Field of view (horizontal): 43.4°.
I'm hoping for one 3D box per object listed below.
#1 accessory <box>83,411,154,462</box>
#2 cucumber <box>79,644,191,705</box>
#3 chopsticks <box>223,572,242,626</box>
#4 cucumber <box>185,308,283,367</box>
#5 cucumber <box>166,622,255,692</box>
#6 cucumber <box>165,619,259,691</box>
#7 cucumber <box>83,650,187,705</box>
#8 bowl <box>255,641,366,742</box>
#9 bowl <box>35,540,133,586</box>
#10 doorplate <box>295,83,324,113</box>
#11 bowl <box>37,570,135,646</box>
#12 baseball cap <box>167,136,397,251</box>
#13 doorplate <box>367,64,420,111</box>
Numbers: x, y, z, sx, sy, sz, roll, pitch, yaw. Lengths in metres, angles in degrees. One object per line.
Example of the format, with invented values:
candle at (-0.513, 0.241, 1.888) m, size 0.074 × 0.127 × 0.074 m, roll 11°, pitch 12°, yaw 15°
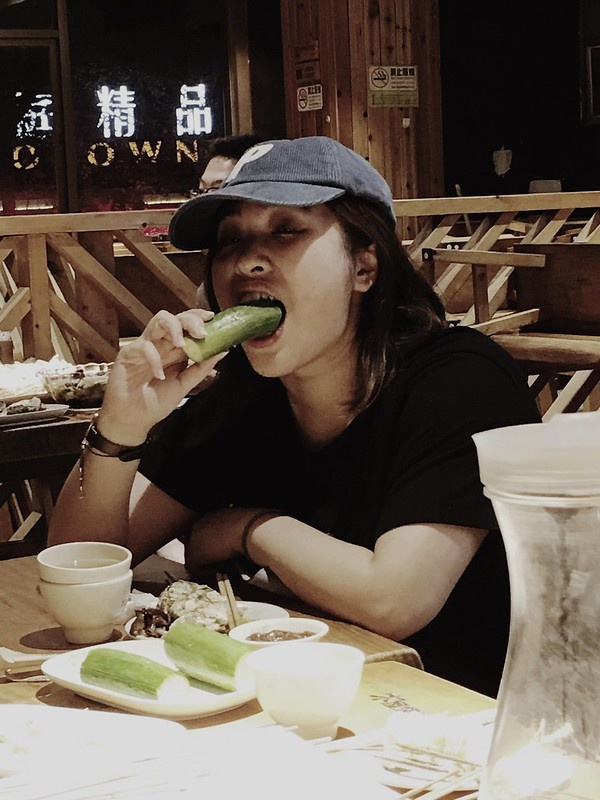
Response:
accessory at (-0.433, 0.115, 1.840) m, size 0.156 × 0.085 × 0.149 m, roll 16°, pitch -8°, yaw -3°
cucumber at (-0.217, 0.352, 0.991) m, size 0.124 × 0.041 × 0.058 m, roll 9°, pitch -2°, yaw 22°
chopsticks at (-0.126, 0.359, 1.347) m, size 0.019 × 0.011 × 0.144 m, roll -12°, pitch 29°, yaw -10°
cucumber at (-0.143, -0.148, 1.602) m, size 0.225 × 0.068 × 0.094 m, roll -25°, pitch 38°, yaw -20°
cucumber at (-0.129, 0.335, 1.032) m, size 0.129 × 0.060 × 0.056 m, roll 19°, pitch 14°, yaw 19°
cucumber at (-0.106, 0.346, 1.030) m, size 0.125 × 0.055 × 0.063 m, roll 12°, pitch 56°, yaw 35°
cucumber at (-0.216, 0.356, 0.974) m, size 0.121 × 0.040 × 0.056 m, roll 8°, pitch -1°, yaw 19°
bowl at (0.007, 0.329, 0.886) m, size 0.125 × 0.075 × 0.112 m, roll -2°, pitch -6°, yaw 5°
bowl at (-0.378, 0.273, 1.309) m, size 0.099 × 0.037 × 0.095 m, roll 1°, pitch -4°, yaw 0°
doorplate at (0.110, -3.148, 7.824) m, size 0.043 × 0.265 × 0.388 m, roll -16°, pitch 17°, yaw -41°
bowl at (-0.359, 0.368, 1.280) m, size 0.117 × 0.079 × 0.117 m, roll 7°, pitch -3°, yaw 0°
baseball cap at (-0.028, -0.462, 1.759) m, size 0.432 × 0.166 × 0.297 m, roll 4°, pitch -8°, yaw -27°
doorplate at (0.984, -3.295, 7.915) m, size 0.726 × 0.496 × 0.096 m, roll -6°, pitch 8°, yaw -40°
